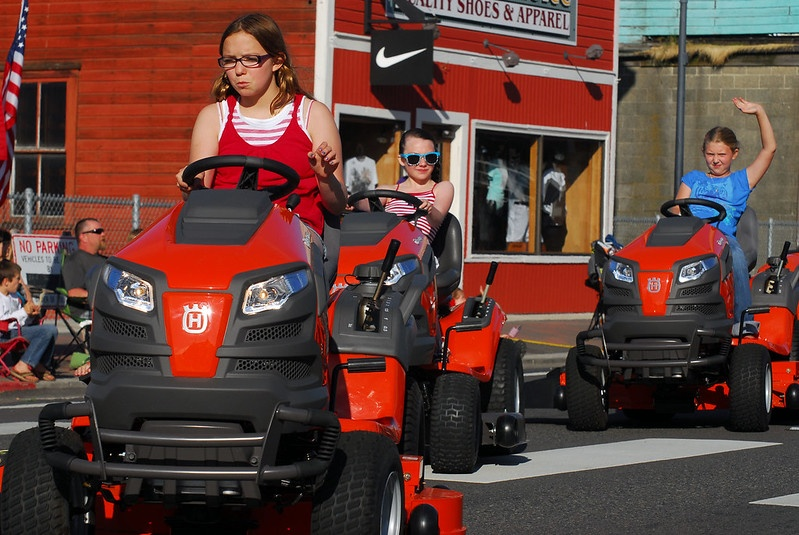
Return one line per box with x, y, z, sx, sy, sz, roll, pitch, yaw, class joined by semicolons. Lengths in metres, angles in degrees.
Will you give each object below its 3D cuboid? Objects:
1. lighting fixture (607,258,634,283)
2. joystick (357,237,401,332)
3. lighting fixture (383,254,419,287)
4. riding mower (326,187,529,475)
2.133;0.034;11.221;0.153;0.104;0.218;-23;38;-19;lighting fixture
-0.149;0.171;8.144;0.174;0.773;0.218;14;-20;11;joystick
0.010;0.010;9.057;0.296;0.148;0.068;-31;-3;-46;lighting fixture
0.067;0.622;9.944;1.795;2.416;3.004;-4;-5;9;riding mower
